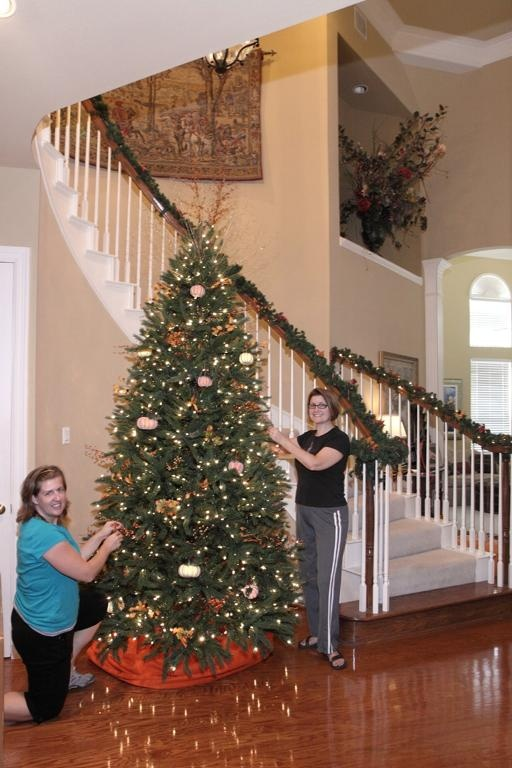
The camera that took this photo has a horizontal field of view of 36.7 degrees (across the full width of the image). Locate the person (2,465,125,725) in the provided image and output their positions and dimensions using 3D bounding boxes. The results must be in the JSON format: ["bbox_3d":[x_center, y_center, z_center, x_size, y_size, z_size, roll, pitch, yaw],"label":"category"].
[{"bbox_3d":[-0.901,0.962,3.634,0.496,1.173,0.454,0,4,-4],"label":"person"}]

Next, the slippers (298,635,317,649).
[{"bbox_3d":[0.293,1.484,4.427,0.103,0.030,0.058,5,-8,-37],"label":"slippers"}]

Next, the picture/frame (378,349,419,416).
[{"bbox_3d":[1.318,-0.011,7.283,0.037,0.520,0.802,-1,-3,34],"label":"picture/frame"}]

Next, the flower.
[{"bbox_3d":[1.531,-2.352,8.743,1.144,1.759,1.585,2,4,13],"label":"flower"}]

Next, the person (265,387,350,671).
[{"bbox_3d":[0.299,0.773,4.292,0.406,1.493,0.464,1,4,5],"label":"person"}]

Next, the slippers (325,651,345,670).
[{"bbox_3d":[0.433,1.486,4.136,0.073,0.068,0.084,0,4,-14],"label":"slippers"}]

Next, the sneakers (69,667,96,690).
[{"bbox_3d":[-0.882,1.497,3.895,0.133,0.044,0.130,1,-2,30],"label":"sneakers"}]

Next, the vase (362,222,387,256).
[{"bbox_3d":[1.285,-1.617,8.596,0.256,0.313,0.328,1,4,7],"label":"vase"}]
